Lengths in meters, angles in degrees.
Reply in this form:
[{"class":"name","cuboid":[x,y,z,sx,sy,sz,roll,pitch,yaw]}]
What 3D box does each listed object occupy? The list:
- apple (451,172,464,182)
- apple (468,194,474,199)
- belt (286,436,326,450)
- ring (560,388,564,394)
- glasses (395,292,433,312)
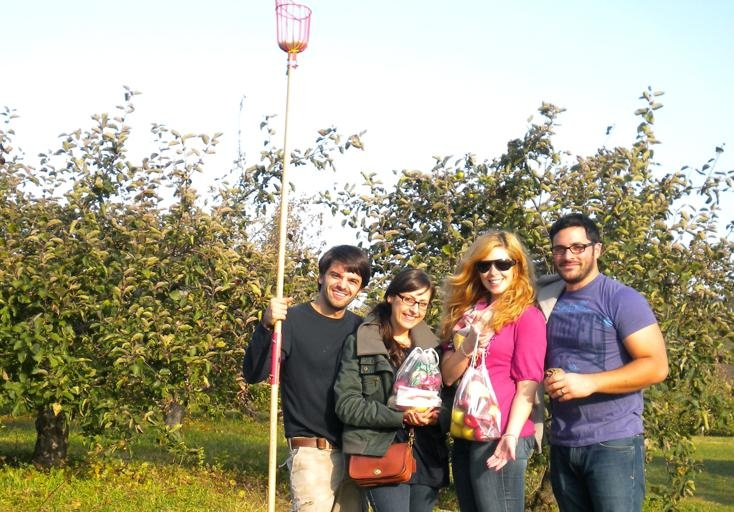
[{"class":"apple","cuboid":[1.216,-1.041,8.619,0.128,0.114,0.258,0,-9,6]},{"class":"apple","cuboid":[1.385,-0.778,8.670,0.085,0.064,0.118,-1,-9,8]},{"class":"belt","cuboid":[-0.523,1.627,5.633,0.393,0.112,0.108,-3,-10,20]},{"class":"ring","cuboid":[1.550,1.073,5.155,0.027,0.040,0.014,1,6,3]},{"class":"glasses","cuboid":[0.417,0.392,5.681,0.183,0.082,0.233,6,-34,-4]}]
